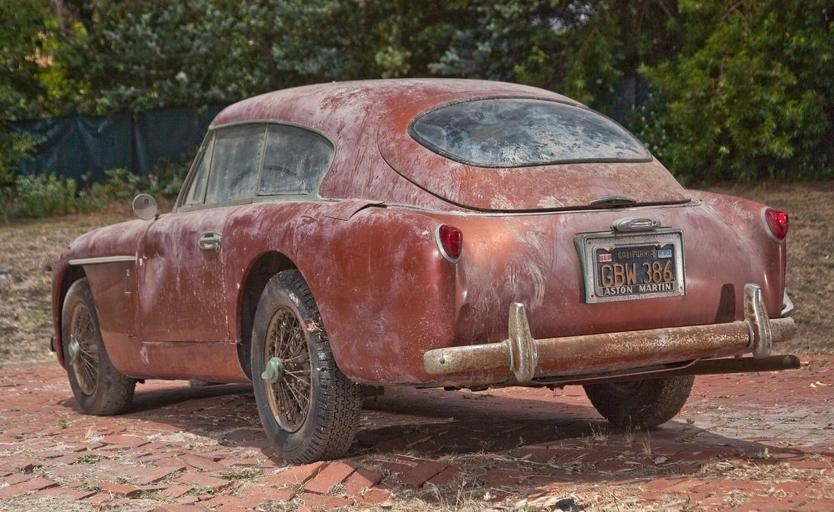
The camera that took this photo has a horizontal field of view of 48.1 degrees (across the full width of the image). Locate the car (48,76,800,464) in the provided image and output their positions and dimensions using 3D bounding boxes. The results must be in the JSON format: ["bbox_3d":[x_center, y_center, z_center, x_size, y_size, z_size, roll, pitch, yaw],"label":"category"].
[{"bbox_3d":[-0.534,-0.064,9.693,3.643,2.330,6.306,1,1,-40],"label":"car"}]
